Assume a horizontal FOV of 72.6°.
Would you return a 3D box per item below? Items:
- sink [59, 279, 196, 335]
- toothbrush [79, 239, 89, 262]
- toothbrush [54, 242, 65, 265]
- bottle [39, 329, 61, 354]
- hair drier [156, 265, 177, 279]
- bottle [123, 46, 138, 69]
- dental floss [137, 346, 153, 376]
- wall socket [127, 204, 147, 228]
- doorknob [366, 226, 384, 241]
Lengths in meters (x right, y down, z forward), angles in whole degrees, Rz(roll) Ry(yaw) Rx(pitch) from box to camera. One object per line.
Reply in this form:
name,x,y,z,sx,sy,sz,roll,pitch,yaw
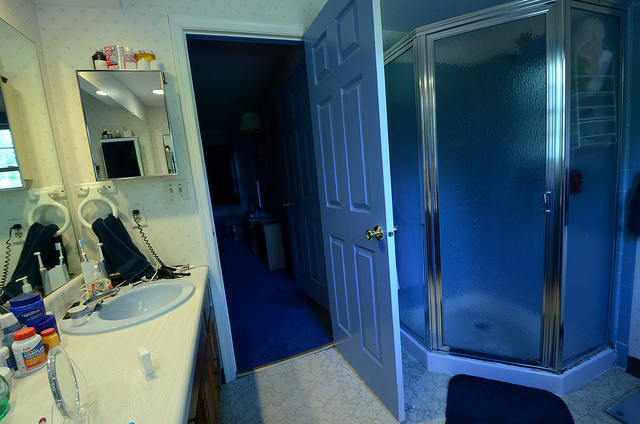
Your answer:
sink,-1.100,0.577,2.559,0.480,0.163,0.663,1,11,37
toothbrush,-1.480,0.245,2.724,0.047,0.191,0.018,-9,-6,-38
toothbrush,-1.583,0.246,2.646,0.016,0.141,0.058,-5,10,2
bottle,-1.396,0.662,2.249,0.075,0.105,0.051,-12,12,-32
hair drier,-1.030,0.407,2.908,0.097,0.032,0.071,2,34,-3
bottle,-1.253,-1.017,2.853,0.092,0.146,0.052,-9,10,-18
dental floss,-0.871,0.746,2.155,0.044,0.123,0.077,-14,40,-24
wall socket,-1.274,0.022,3.005,0.123,0.213,0.022,-13,14,-28
doorknob,0.353,0.123,2.757,0.078,0.102,0.104,-8,12,-33
